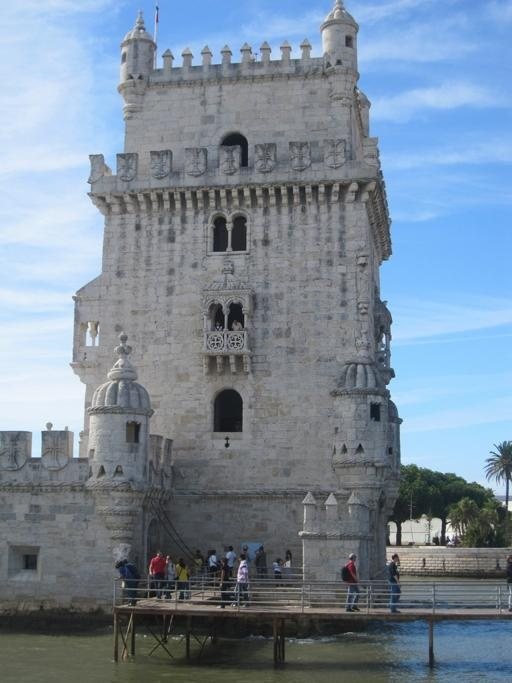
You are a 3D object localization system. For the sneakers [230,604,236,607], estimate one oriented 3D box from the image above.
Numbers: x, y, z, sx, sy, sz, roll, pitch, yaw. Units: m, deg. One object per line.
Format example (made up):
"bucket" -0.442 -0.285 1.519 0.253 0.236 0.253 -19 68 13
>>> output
"sneakers" -0.753 8.975 68.585 0.172 0.204 0.188 -1 -6 5

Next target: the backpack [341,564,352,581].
"backpack" 3.075 7.893 68.758 0.322 0.642 0.468 13 -29 -10
